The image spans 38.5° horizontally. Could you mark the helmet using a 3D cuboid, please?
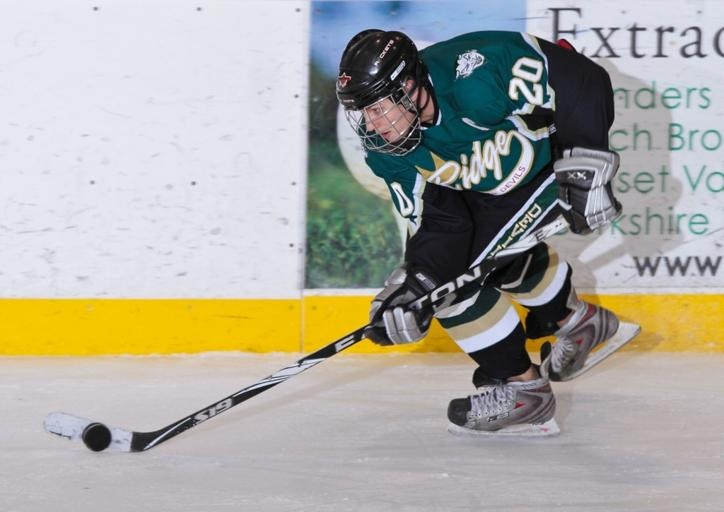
[{"bbox_3d":[0.060,-0.662,3.671,0.217,0.281,0.235,3,13,38],"label":"helmet"}]

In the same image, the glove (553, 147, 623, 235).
[{"bbox_3d":[0.829,-0.225,3.717,0.313,0.289,0.228,3,8,18],"label":"glove"}]

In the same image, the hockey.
[{"bbox_3d":[-0.265,0.331,4.125,1.990,0.241,0.183,-21,-16,-7],"label":"hockey"}]

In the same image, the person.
[{"bbox_3d":[0.460,-0.090,3.811,0.970,1.498,0.404,-5,12,3],"label":"person"}]
